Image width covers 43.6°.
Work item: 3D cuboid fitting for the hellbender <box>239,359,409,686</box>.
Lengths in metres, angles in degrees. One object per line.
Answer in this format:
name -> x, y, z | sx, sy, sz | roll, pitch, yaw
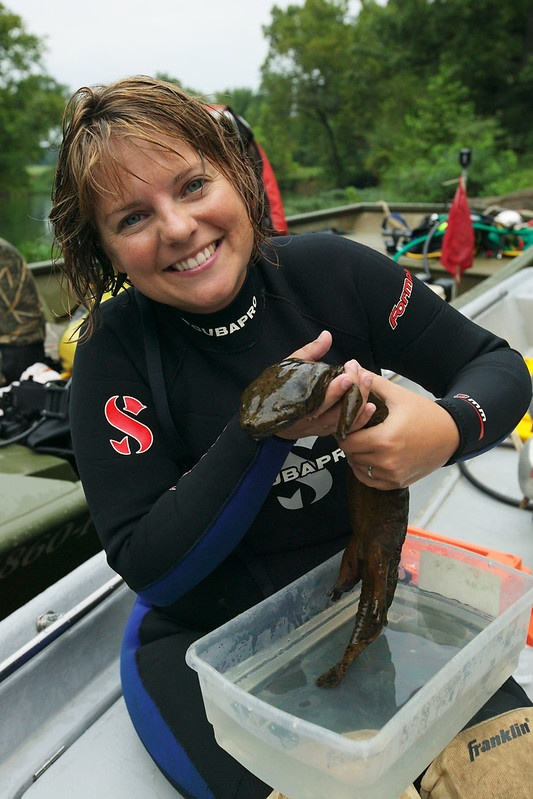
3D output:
hellbender -> 0.065, 0.157, 1.091 | 0.253, 0.527, 0.202 | -5, 11, -40
